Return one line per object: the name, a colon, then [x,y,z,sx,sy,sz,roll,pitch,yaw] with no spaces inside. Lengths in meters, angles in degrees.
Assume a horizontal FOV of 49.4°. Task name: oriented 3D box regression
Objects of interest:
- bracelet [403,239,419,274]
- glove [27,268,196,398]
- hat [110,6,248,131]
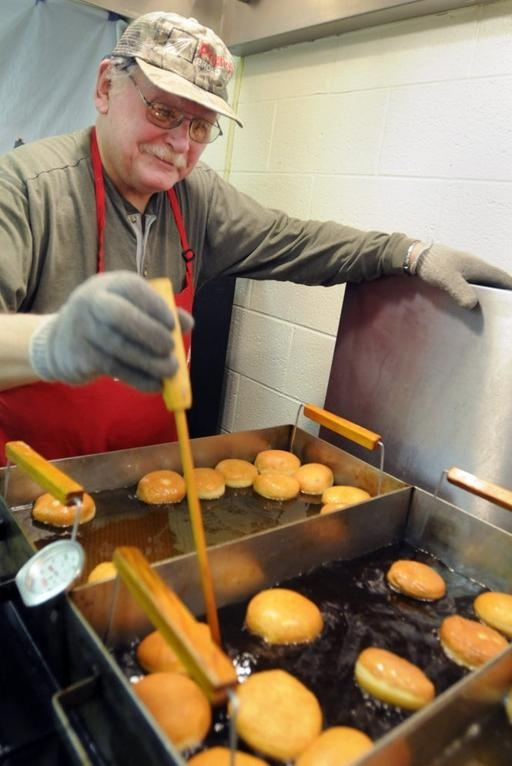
bracelet: [0.362,-0.301,1.298,0.016,0.062,0.062,14,36,24]
glove: [-0.189,-0.054,0.684,0.076,0.176,0.290,-4,21,-42]
hat: [-0.203,-0.662,1.191,0.296,0.154,0.209,38,20,24]
